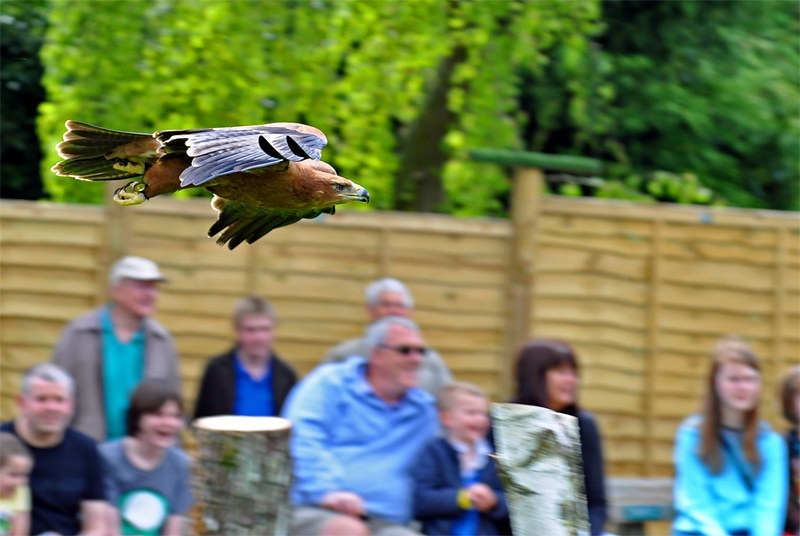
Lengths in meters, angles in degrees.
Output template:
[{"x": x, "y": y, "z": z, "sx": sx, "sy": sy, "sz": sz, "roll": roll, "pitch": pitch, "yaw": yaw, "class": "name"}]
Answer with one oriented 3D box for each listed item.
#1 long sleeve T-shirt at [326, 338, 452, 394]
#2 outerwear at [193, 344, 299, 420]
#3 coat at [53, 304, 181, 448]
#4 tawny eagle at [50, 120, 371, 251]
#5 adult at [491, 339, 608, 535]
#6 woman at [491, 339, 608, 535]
[{"x": -0.002, "y": 0.454, "z": 10.596, "sx": 0.356, "sy": 0.099, "sz": 0.366, "roll": 33, "pitch": -22, "yaw": -29, "class": "long sleeve T-shirt"}, {"x": -0.745, "y": 0.517, "z": 10.503, "sx": 0.654, "sy": 0.401, "sz": 0.304, "roll": 3, "pitch": -5, "yaw": -7, "class": "outerwear"}, {"x": -1.241, "y": 0.486, "z": 10.333, "sx": 0.740, "sy": 0.599, "sz": 0.415, "roll": 3, "pitch": -8, "yaw": -21, "class": "coat"}, {"x": -0.781, "y": -0.413, "z": 10.016, "sx": 0.763, "sy": 0.229, "sz": 0.886, "roll": 17, "pitch": -8, "yaw": -14, "class": "tawny eagle"}, {"x": 0.723, "y": 0.730, "z": 10.440, "sx": 0.431, "sy": 0.853, "sz": 0.150, "roll": 1, "pitch": 6, "yaw": 3, "class": "adult"}, {"x": 0.723, "y": 0.730, "z": 10.440, "sx": 0.431, "sy": 0.853, "sz": 0.150, "roll": 1, "pitch": 6, "yaw": 3, "class": "woman"}]
